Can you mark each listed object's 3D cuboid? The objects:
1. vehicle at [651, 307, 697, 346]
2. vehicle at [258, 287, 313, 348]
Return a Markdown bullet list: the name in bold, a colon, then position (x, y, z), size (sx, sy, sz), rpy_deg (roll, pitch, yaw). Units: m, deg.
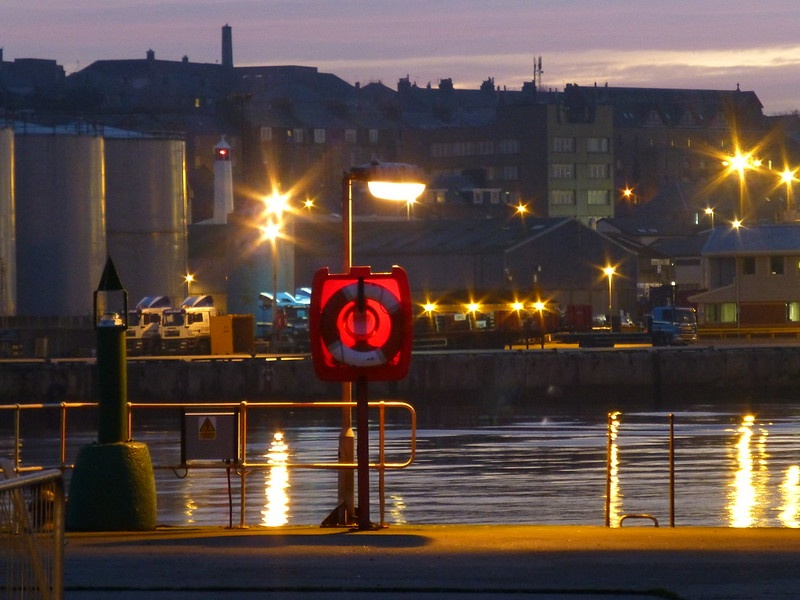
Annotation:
- **vehicle**: position (18.418, 2.000, 169.550), size (2.127, 2.369, 3.871), rpy_deg (0, -2, -21)
- **vehicle**: position (-7.417, 1.329, 171.859), size (3.328, 3.017, 5.337), rpy_deg (0, -2, -25)
